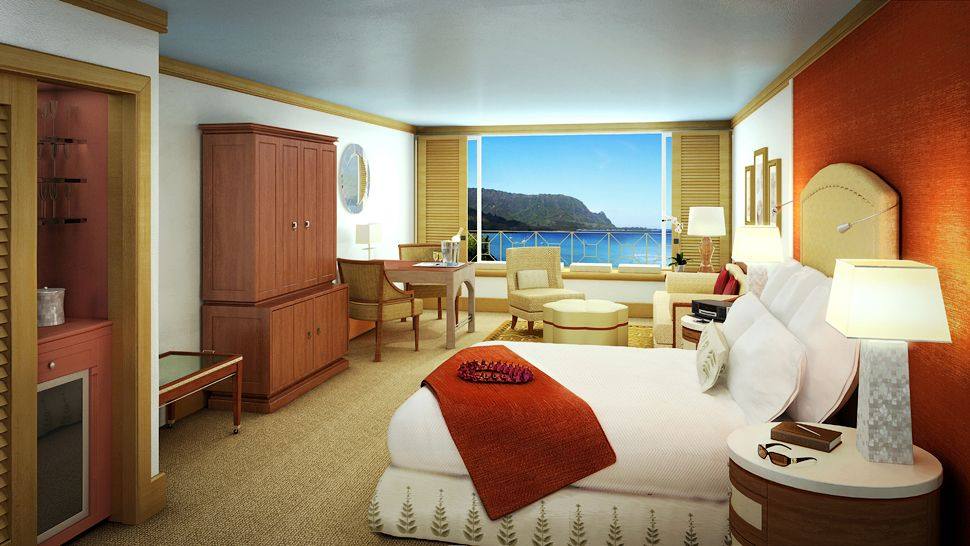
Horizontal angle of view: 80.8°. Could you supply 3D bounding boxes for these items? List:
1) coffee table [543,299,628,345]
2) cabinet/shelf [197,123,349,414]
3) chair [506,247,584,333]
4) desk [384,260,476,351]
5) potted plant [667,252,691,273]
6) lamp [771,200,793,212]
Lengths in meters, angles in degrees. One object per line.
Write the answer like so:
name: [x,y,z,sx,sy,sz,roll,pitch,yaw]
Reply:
coffee table: [1.381,0.561,7.831,1.030,0.457,1.086,22,12,13]
cabinet/shelf: [-2.408,-0.107,6.372,0.844,2.996,1.260,3,8,29]
chair: [0.859,0.205,8.883,1.045,1.134,1.063,-5,10,-30]
desk: [-0.814,0.401,8.412,1.314,0.927,1.301,0,1,16]
potted plant: [3.197,-0.191,9.401,0.354,0.214,0.334,-1,0,19]
lamp: [3.260,-0.732,6.225,0.337,0.053,0.124,-15,1,-5]
